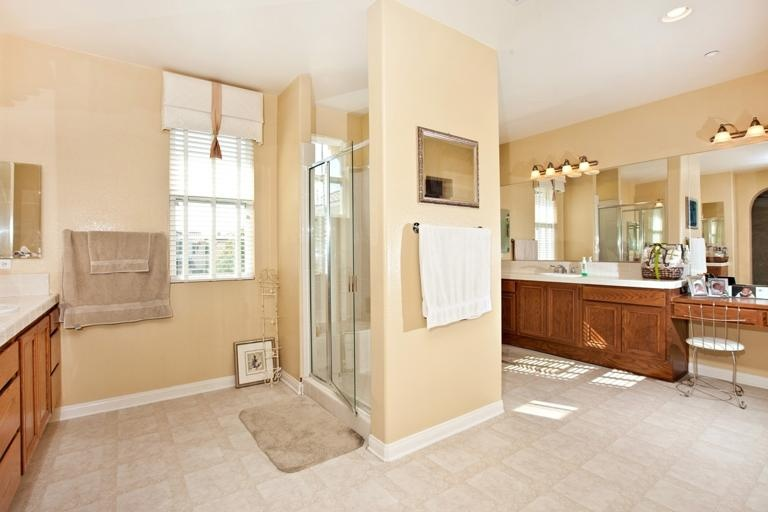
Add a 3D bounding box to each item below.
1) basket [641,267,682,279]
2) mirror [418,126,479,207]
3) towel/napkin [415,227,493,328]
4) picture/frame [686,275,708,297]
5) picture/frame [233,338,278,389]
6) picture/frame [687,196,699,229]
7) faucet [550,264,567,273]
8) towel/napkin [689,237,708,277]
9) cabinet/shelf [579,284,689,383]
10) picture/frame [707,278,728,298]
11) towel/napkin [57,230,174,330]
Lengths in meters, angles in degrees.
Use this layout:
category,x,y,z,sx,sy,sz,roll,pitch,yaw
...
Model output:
category,x,y,z,sx,sy,sz,roll,pitch,yaw
basket,3.376,0.217,5.773,0.200,0.092,0.256,4,-7,-35
mirror,0.603,-0.855,4.620,0.839,0.701,0.058,3,-4,-36
towel/napkin,0.644,0.195,4.573,0.952,0.911,0.113,-6,7,-35
picture/frame,3.669,0.356,5.568,0.210,0.240,0.027,6,-20,2
picture/frame,-1.542,1.279,5.651,0.592,0.603,0.043,0,-10,-33
picture/frame,3.726,-0.512,5.742,0.120,0.380,0.061,-2,3,29
faucet,2.509,0.183,6.804,0.078,0.103,0.180,0,3,-23
towel/napkin,3.780,-0.001,5.733,0.183,0.451,0.052,-2,3,29
cabinet/shelf,3.052,0.924,5.703,0.450,1.134,1.088,3,-5,-42
picture/frame,3.876,0.371,5.510,0.030,0.267,0.221,10,-7,-41
towel/napkin,-2.893,0.251,5.049,1.095,1.053,0.297,-1,1,-30
